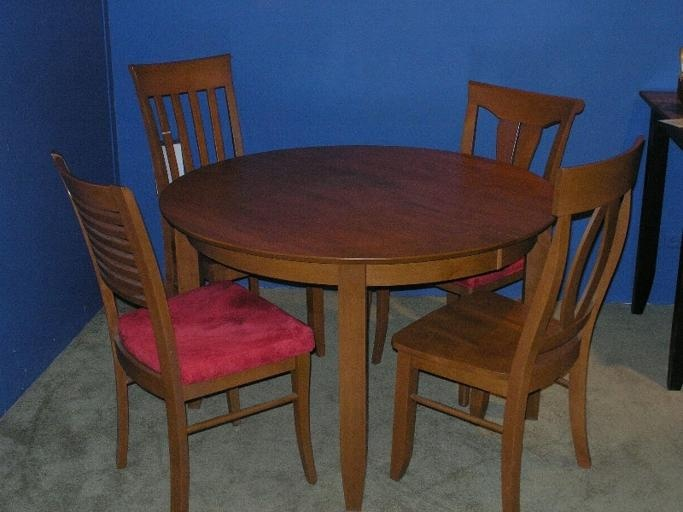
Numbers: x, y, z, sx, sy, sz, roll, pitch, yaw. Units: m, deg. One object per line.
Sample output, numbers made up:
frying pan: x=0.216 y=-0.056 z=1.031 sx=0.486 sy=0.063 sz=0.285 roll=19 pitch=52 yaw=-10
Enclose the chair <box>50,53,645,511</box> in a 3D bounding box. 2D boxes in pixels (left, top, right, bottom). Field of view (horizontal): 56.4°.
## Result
chair: x=-0.091 y=-0.014 z=2.321 sx=1.822 sy=1.248 sz=1.235 roll=14 pitch=24 yaw=37
